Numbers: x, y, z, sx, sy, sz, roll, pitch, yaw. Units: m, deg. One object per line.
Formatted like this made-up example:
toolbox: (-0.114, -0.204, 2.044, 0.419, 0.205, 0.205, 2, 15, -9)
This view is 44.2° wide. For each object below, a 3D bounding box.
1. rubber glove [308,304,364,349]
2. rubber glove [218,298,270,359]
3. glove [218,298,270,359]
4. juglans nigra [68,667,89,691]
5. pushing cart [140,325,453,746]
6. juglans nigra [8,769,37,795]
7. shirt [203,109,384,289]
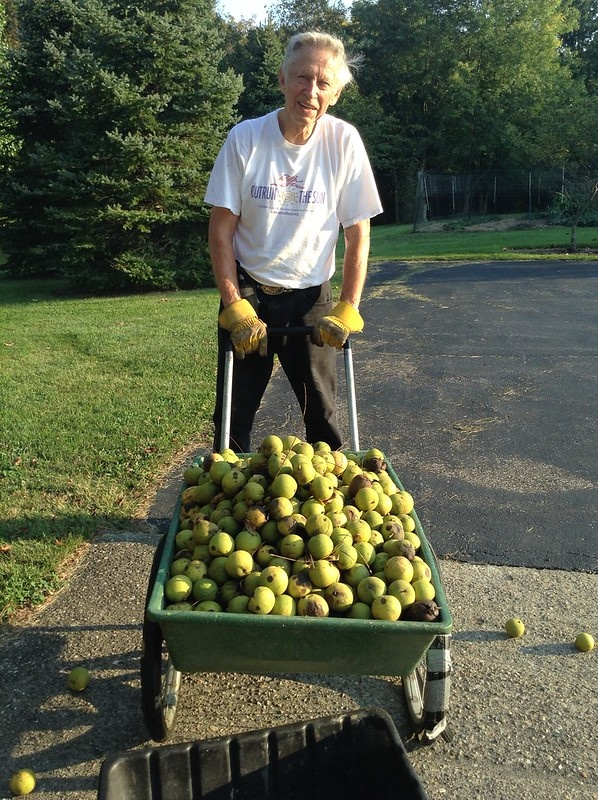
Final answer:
rubber glove: (0.162, -0.315, 3.301, 0.188, 0.088, 0.229, 42, 39, 3)
rubber glove: (-0.243, -0.292, 3.182, 0.200, 0.244, 0.121, -29, -2, -22)
glove: (-0.244, -0.290, 3.181, 0.200, 0.244, 0.121, -29, -2, -22)
juglans nigra: (-0.884, 1.123, 2.955, 0.088, 0.073, 0.087, -2, 13, -14)
pushing cart: (-0.024, 0.662, 2.757, 0.681, 0.697, 1.120, 2, 27, 1)
juglans nigra: (-0.931, 1.294, 2.487, 0.086, 0.059, 0.066, -4, 13, -23)
shirt: (-0.021, -0.897, 3.399, 0.784, 0.756, 0.222, 0, 13, -6)
